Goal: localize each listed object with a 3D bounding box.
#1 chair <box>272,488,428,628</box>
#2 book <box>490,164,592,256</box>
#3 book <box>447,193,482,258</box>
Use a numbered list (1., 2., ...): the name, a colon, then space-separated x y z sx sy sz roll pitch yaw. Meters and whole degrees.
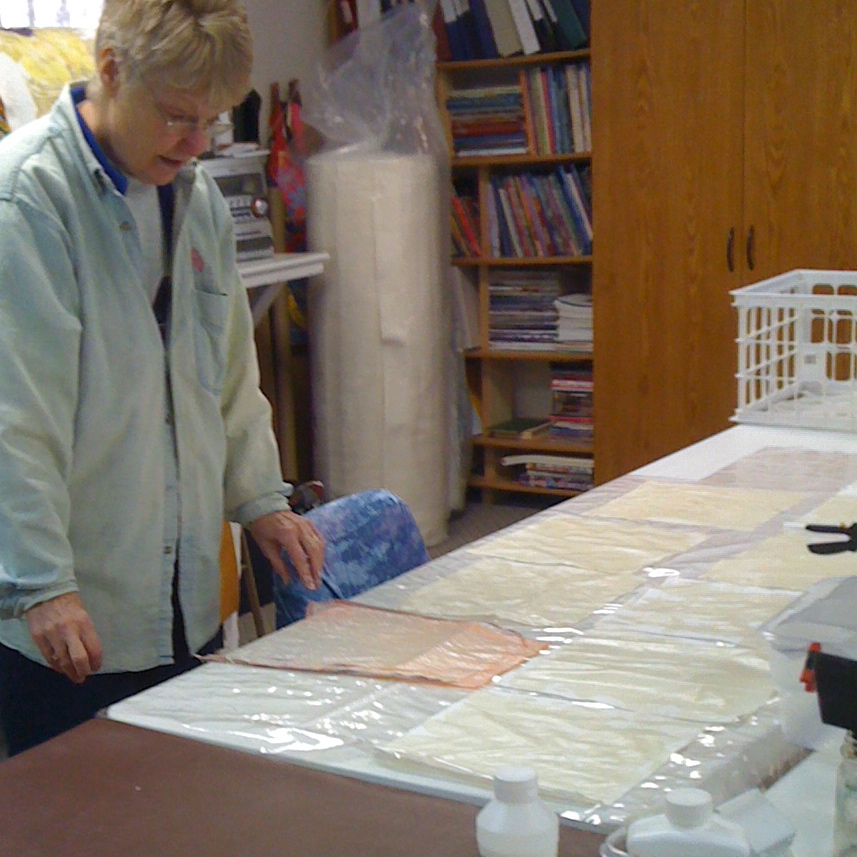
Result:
1. chair: -0.109 0.222 1.553 0.210 0.304 0.113 -11 32 -9
2. book: 0.536 -0.850 3.830 0.485 0.514 0.364 -1 12 14
3. book: 0.160 -0.901 3.856 0.060 0.226 0.237 -13 -15 11
